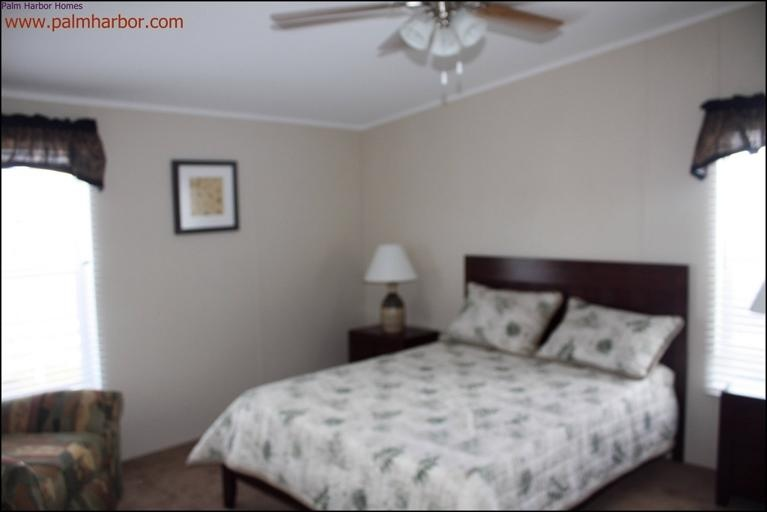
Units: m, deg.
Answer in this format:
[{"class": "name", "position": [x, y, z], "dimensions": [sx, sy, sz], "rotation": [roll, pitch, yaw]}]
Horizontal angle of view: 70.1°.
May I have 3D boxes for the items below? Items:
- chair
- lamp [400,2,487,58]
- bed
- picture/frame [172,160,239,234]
[{"class": "chair", "position": [-1.283, 0.746, 2.290], "dimensions": [0.463, 0.458, 0.512], "rotation": [-4, -5, 29]}, {"class": "lamp", "position": [0.288, -1.036, 2.499], "dimensions": [0.216, 0.108, 0.214], "rotation": [0, -12, -4]}, {"class": "bed", "position": [0.409, 0.601, 2.435], "dimensions": [1.280, 0.792, 1.551], "rotation": [1, 1, 45]}, {"class": "picture/frame", "position": [-0.755, -0.243, 2.276], "dimensions": [0.329, 0.322, 0.023], "rotation": [0, -1, -39]}]
